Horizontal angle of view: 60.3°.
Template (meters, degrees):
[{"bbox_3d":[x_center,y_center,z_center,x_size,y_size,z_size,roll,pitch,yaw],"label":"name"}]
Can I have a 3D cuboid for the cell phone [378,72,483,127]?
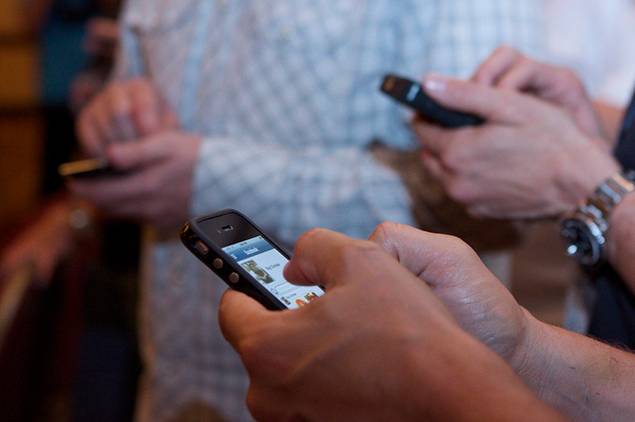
[{"bbox_3d":[0.188,-0.169,0.968,0.040,0.159,0.093,-57,39,0],"label":"cell phone"}]
